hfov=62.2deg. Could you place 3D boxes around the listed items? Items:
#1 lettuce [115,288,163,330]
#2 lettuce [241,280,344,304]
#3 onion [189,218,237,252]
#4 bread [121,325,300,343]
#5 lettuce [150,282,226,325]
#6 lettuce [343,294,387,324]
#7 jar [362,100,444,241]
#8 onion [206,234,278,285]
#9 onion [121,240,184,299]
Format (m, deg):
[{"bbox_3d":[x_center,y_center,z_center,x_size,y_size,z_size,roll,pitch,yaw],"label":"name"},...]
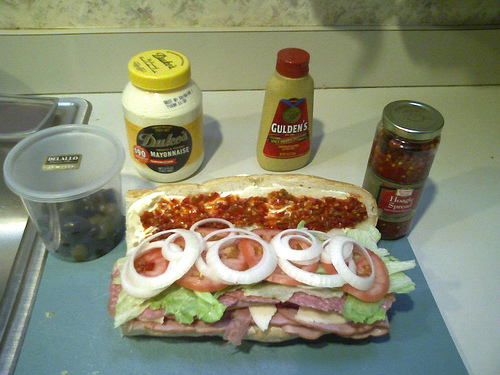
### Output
[{"bbox_3d":[-0.611,0.612,2.094,0.227,0.162,0.311,-5,20,-15],"label":"lettuce"},{"bbox_3d":[0.167,0.568,2.193,0.619,0.067,0.171,2,45,-3],"label":"lettuce"},{"bbox_3d":[-0.184,0.224,2.237,0.203,0.150,0.270,-10,23,-39],"label":"onion"},{"bbox_3d":[-0.215,0.749,2.130,0.592,0.115,0.061,0,78,-4],"label":"bread"},{"bbox_3d":[-0.309,0.591,2.098,0.388,0.185,0.256,5,27,3],"label":"lettuce"},{"bbox_3d":[0.586,0.636,2.131,0.236,0.091,0.146,2,49,-1],"label":"lettuce"},{"bbox_3d":[0.881,-0.077,2.473,0.350,0.804,0.343,-1,40,1],"label":"jar"},{"bbox_3d":[-0.042,0.371,2.127,0.350,0.112,0.267,13,50,8],"label":"onion"},{"bbox_3d":[-0.507,0.421,2.131,0.279,0.162,0.306,11,50,7],"label":"onion"}]
